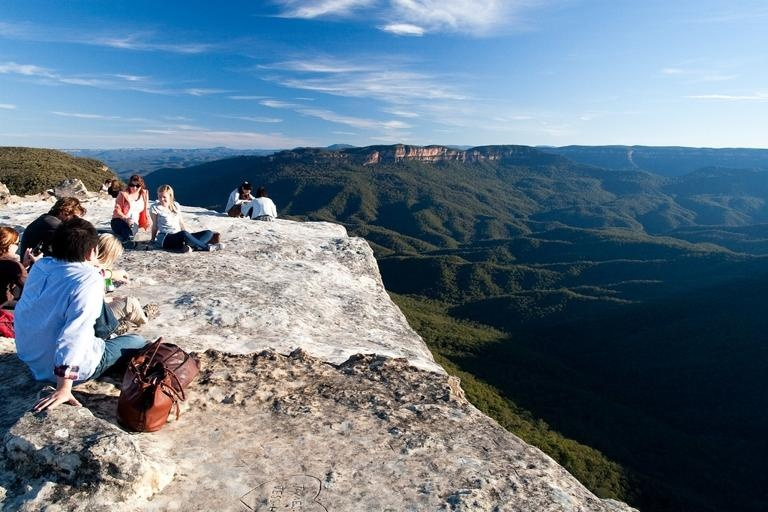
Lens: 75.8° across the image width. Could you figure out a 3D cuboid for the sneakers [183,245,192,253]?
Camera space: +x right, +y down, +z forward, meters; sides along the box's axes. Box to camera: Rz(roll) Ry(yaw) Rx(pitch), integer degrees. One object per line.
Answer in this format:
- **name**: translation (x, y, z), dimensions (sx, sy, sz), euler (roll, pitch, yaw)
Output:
- **sneakers**: translation (-7.425, -0.277, 18.717), dimensions (0.254, 0.267, 0.183), euler (5, 19, -19)
